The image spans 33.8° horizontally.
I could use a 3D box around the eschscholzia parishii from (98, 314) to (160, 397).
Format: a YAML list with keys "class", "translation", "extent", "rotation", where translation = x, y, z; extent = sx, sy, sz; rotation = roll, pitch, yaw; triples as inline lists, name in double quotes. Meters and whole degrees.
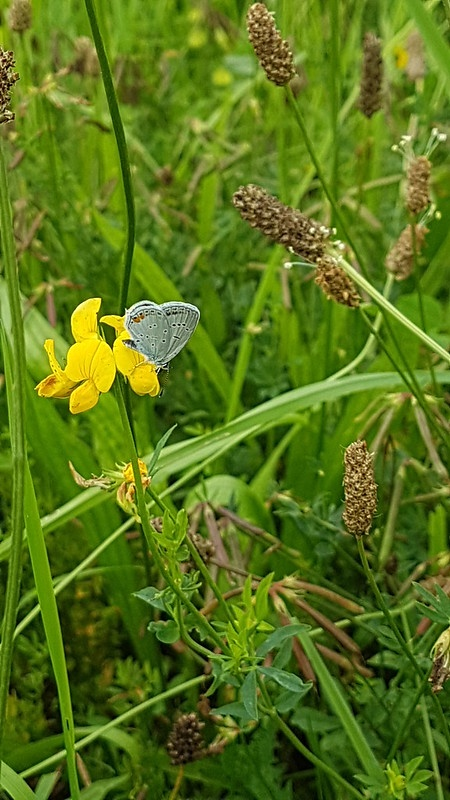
- class: "eschscholzia parishii"
  translation: [-0.092, -0.036, 0.728]
  extent: [0.071, 0.068, 0.033]
  rotation: [34, 82, -10]

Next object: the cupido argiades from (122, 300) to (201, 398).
- class: "cupido argiades"
  translation: [-0.064, -0.064, 0.734]
  extent: [0.073, 0.093, 0.073]
  rotation: [31, 79, -2]
